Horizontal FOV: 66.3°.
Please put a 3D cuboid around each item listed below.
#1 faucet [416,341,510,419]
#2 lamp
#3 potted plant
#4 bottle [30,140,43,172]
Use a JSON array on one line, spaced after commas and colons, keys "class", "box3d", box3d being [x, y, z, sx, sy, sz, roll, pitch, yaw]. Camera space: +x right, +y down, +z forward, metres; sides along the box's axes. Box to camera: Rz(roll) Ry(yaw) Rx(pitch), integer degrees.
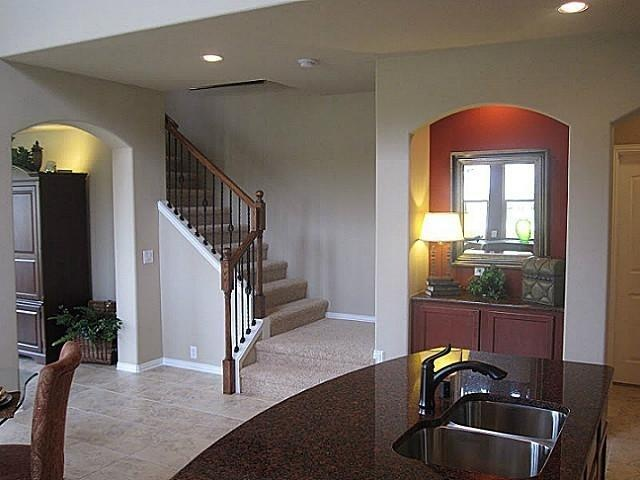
[{"class": "faucet", "box3d": [0.636, 0.642, 2.222, 0.381, 0.331, 0.086, -6, -13, 33]}, {"class": "lamp", "box3d": [1.172, 0.111, 4.744, 0.398, 0.753, 0.606, 0, 8, 16]}, {"class": "potted plant", "box3d": [-2.628, 1.077, 5.485, 0.783, 0.653, 0.698, 3, 4, 23]}, {"class": "bottle", "box3d": [-3.587, -1.068, 6.199, 0.110, 0.381, 0.295, -6, 9, -31]}]
